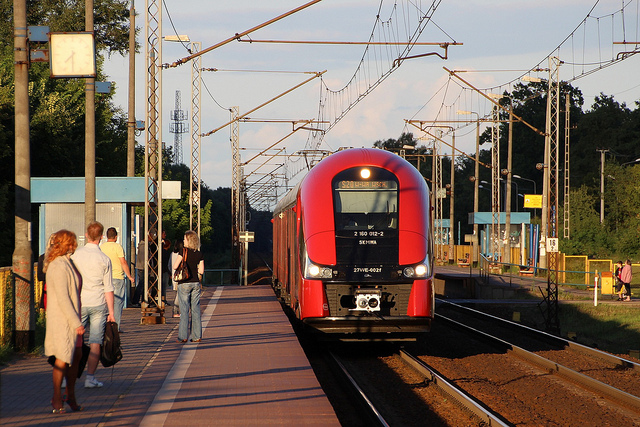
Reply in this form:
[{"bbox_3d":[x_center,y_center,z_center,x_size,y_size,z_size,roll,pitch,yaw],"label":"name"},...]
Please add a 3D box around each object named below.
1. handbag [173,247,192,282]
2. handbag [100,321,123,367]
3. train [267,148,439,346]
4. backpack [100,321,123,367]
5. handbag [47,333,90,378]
[{"bbox_3d":[-3.481,1.274,20.402,0.474,0.860,0.222,0,-2,-1],"label":"handbag"},{"bbox_3d":[-4.060,2.430,15.557,0.404,0.930,0.234,9,18,-4],"label":"handbag"},{"bbox_3d":[0.951,1.034,21.377,3.135,4.215,15.252,-1,-1,2],"label":"train"},{"bbox_3d":[-4.032,2.452,15.561,0.420,0.964,0.241,1,13,-7],"label":"backpack"},{"bbox_3d":[-4.898,2.666,15.192,0.770,0.847,1.104,1,-1,-7],"label":"handbag"}]
